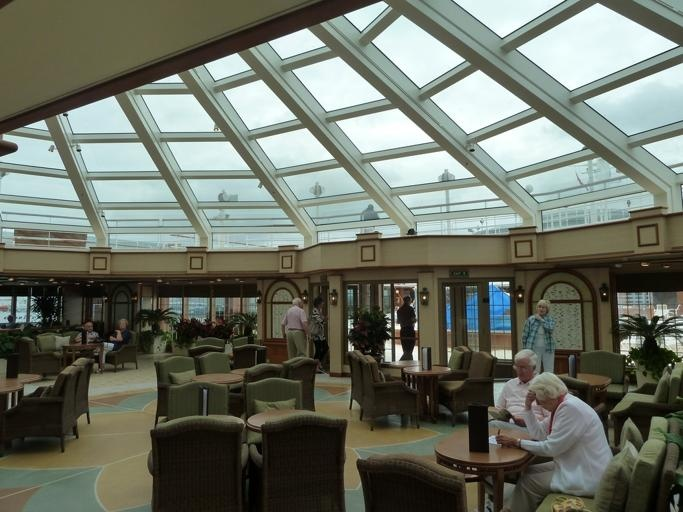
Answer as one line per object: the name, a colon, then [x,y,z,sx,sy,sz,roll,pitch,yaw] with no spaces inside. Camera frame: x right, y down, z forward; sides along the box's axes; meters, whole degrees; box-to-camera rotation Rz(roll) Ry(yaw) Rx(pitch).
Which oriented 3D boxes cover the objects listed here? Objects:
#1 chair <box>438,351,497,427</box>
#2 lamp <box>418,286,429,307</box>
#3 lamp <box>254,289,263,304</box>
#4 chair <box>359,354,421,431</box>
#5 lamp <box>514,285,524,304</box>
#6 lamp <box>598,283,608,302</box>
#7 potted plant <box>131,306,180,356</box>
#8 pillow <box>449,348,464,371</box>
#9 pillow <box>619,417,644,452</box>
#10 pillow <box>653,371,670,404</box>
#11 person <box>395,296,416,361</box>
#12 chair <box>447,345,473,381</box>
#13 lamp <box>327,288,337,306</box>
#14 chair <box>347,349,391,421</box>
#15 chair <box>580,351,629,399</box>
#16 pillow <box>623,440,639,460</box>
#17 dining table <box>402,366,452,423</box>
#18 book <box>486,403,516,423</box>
chair: [2.139,2.158,8.610,0.958,0.921,0.835,-2,-1,-19]
lamp: [1.985,0.974,12.041,0.452,0.503,0.385,0,-6,9]
lamp: [-2.671,1.314,16.231,0.111,0.464,0.248,-9,-1,-33]
chair: [0.620,2.281,8.471,1.019,1.028,1.226,8,-13,-30]
lamp: [4.438,0.938,12.468,0.264,0.449,0.129,-9,-1,13]
lamp: [6.143,0.846,11.691,0.209,0.459,0.097,-9,-1,23]
potted plant: [-6.535,2.655,18.169,1.433,1.278,1.450,-4,-4,-36]
pillow: [2.150,1.976,9.565,0.364,0.382,0.297,-1,-8,-7]
pillow: [2.711,1.669,4.675,0.132,0.205,0.246,-11,-4,30]
pillow: [4.326,1.790,6.736,0.203,0.416,0.446,-10,-2,33]
person: [1.615,1.771,12.441,0.550,1.632,0.280,-9,-1,5]
chair: [2.207,2.032,9.518,0.654,0.672,0.546,-2,-9,-4]
lamp: [-0.235,1.079,13.165,0.266,0.457,0.151,-10,-1,42]
chair: [0.626,2.263,8.757,0.927,1.058,0.898,1,3,-20]
chair: [4.425,2.136,8.535,0.834,0.882,0.850,1,1,31]
pillow: [2.456,1.653,4.242,0.080,0.136,0.232,-3,-17,37]
dining table: [1.450,2.328,8.548,0.923,0.743,0.892,1,-12,-9]
book: [1.973,1.980,6.230,0.338,0.137,0.500,1,-10,-21]
